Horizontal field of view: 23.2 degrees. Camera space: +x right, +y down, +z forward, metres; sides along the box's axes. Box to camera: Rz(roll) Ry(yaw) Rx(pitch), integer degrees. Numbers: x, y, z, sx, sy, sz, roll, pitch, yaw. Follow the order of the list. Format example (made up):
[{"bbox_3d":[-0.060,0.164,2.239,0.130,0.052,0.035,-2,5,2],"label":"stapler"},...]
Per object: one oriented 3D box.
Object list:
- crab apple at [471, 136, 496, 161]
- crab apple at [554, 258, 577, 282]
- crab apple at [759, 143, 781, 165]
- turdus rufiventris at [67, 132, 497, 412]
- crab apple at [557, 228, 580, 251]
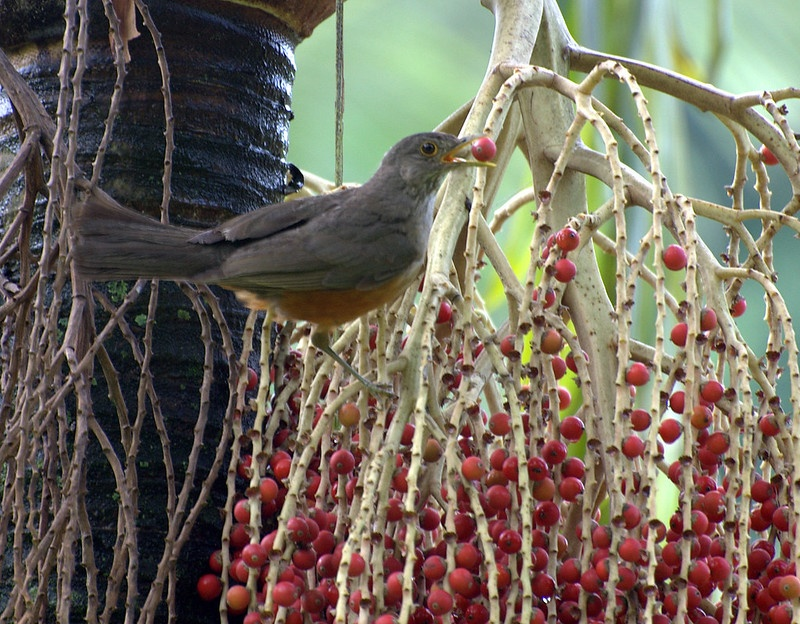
[{"bbox_3d":[0.205,-0.392,4.639,0.051,0.067,0.054,1,3,9],"label":"crab apple"},{"bbox_3d":[0.390,-0.102,4.570,0.047,0.050,0.059,14,-47,22],"label":"crab apple"},{"bbox_3d":[0.947,-0.405,4.945,0.042,0.057,0.044,5,2,0],"label":"crab apple"},{"bbox_3d":[-0.320,-0.123,4.783,0.917,0.691,0.354,2,-5,-13],"label":"turdus rufiventris"},{"bbox_3d":[0.402,-0.174,4.568,0.047,0.062,0.050,1,3,12],"label":"crab apple"}]
